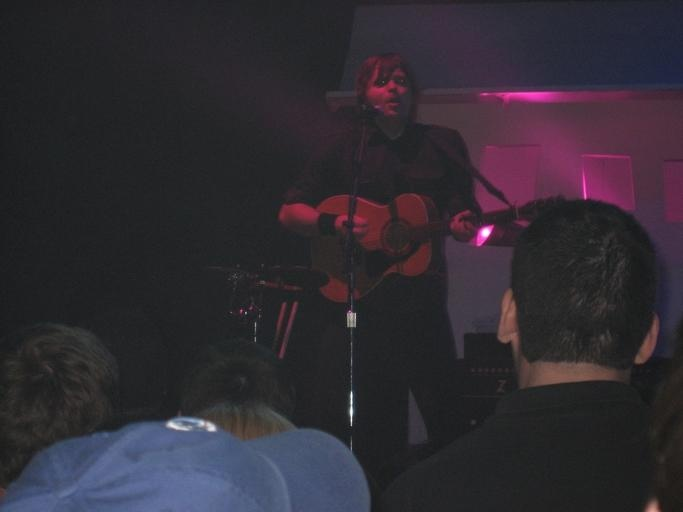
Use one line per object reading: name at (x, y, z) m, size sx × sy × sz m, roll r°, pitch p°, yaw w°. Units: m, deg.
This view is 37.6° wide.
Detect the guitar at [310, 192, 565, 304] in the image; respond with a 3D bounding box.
guitar at (0.433, -0.023, 6.339) m, size 1.237 × 0.742 × 0.396 m, roll 6°, pitch 8°, yaw -2°
